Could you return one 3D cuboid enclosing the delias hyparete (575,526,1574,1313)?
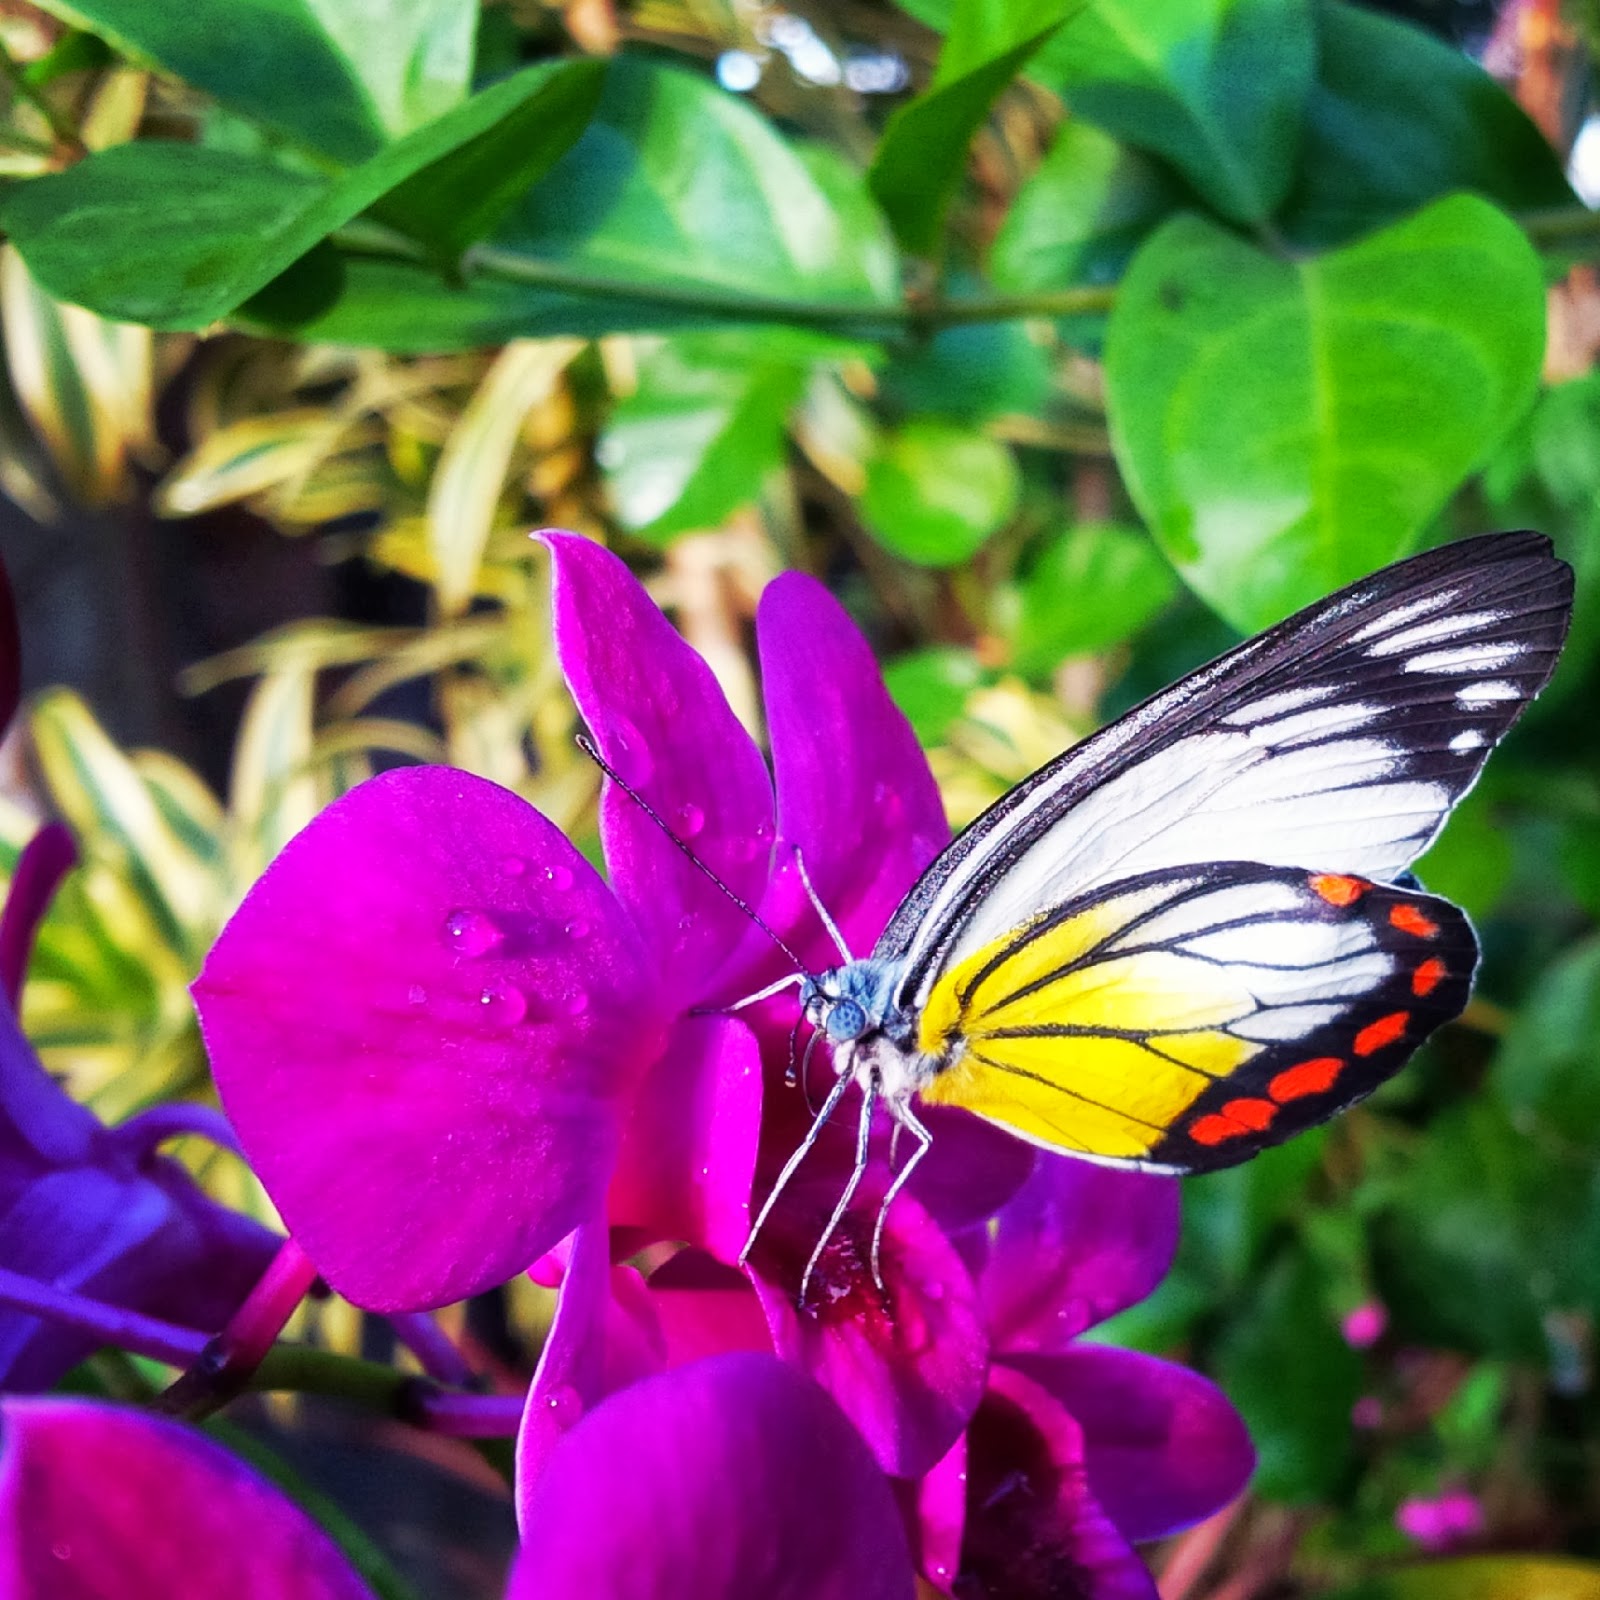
[{"bbox_3d":[0.082,0.059,0.641,0.213,0.178,0.296,23,-18,-11],"label":"delias hyparete"}]
